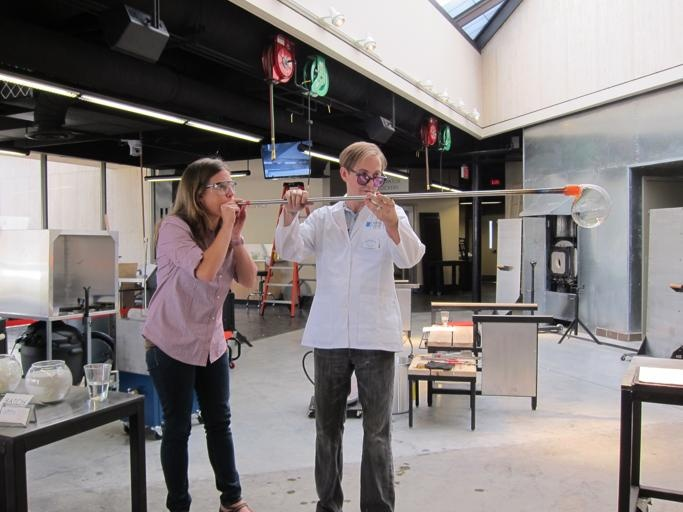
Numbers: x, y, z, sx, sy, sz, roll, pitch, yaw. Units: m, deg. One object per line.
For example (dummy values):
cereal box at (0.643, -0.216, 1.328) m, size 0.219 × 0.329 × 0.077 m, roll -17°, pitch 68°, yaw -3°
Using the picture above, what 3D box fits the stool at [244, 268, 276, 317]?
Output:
stool at (-1.975, 0.749, 12.869) m, size 0.550 × 0.899 × 0.532 m, roll 7°, pitch 3°, yaw 44°

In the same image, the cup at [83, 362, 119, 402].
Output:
cup at (-1.391, 0.732, 3.082) m, size 0.143 × 0.185 × 0.129 m, roll -1°, pitch -5°, yaw -2°

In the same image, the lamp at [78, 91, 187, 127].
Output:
lamp at (-2.638, -1.718, 6.726) m, size 0.255 × 0.103 × 1.806 m, roll -24°, pitch -14°, yaw 38°

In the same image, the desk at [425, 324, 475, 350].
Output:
desk at (1.148, 0.875, 5.825) m, size 0.519 × 0.193 × 0.876 m, roll 0°, pitch 3°, yaw 11°

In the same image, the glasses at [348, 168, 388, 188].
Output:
glasses at (0.162, -0.445, 3.072) m, size 0.216 × 0.095 × 0.139 m, roll -1°, pitch 3°, yaw -17°

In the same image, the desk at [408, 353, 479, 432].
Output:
desk at (1.042, 1.345, 5.356) m, size 0.635 × 0.538 × 1.105 m, roll -3°, pitch -5°, yaw 20°
